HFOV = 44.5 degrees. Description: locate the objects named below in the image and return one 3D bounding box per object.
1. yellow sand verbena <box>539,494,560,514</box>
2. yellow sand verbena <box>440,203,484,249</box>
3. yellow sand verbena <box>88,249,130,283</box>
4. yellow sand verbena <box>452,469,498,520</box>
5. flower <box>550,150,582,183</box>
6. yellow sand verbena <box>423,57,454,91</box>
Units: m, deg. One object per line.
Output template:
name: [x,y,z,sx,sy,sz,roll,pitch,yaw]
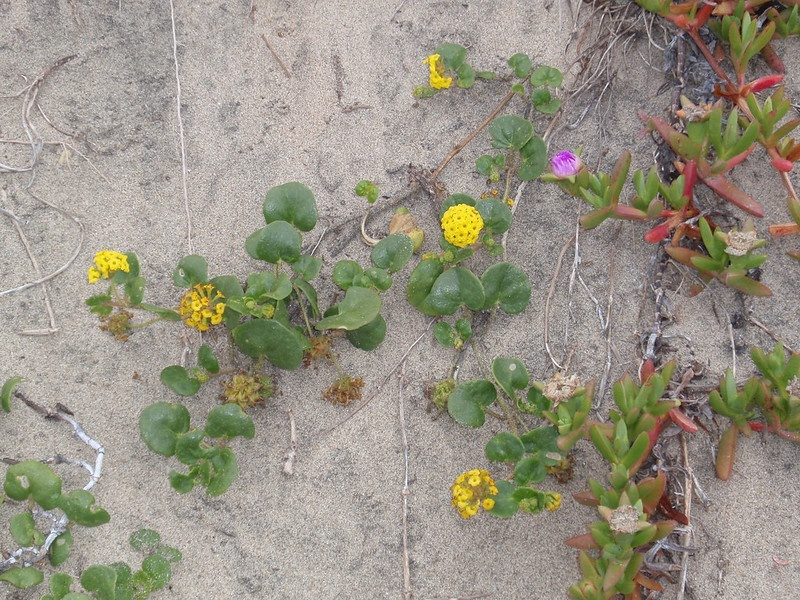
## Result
yellow sand verbena: [0.702,0.922,4.479,0.110,0.213,0.077,1,77,0]
yellow sand verbena: [0.288,-0.348,4.534,0.180,0.102,0.190,-11,79,-4]
yellow sand verbena: [-1.342,-0.136,4.488,0.140,0.066,0.166,-12,59,0]
yellow sand verbena: [0.339,0.873,4.455,0.214,0.129,0.189,-13,79,-4]
flower: [0.787,-0.628,4.637,0.143,0.136,0.129,9,78,1]
yellow sand verbena: [0.193,-1.097,4.767,0.127,0.152,0.181,-12,78,-4]
